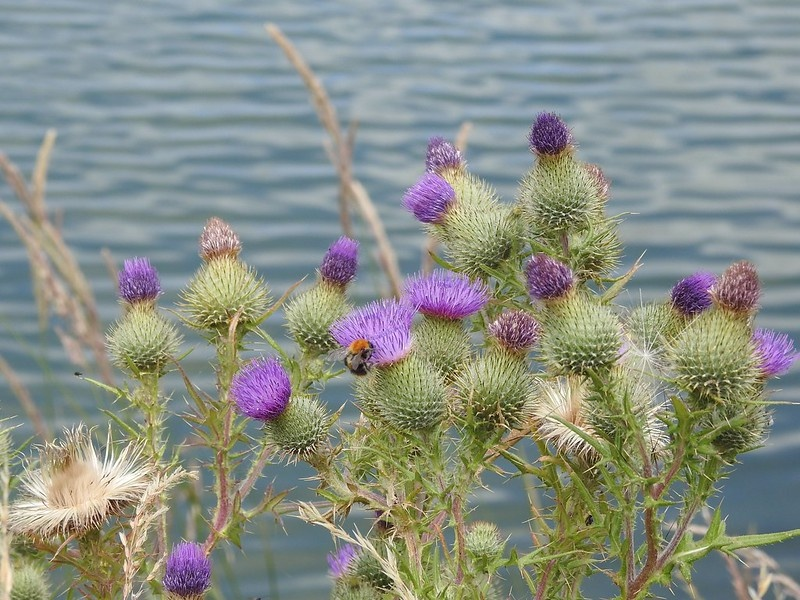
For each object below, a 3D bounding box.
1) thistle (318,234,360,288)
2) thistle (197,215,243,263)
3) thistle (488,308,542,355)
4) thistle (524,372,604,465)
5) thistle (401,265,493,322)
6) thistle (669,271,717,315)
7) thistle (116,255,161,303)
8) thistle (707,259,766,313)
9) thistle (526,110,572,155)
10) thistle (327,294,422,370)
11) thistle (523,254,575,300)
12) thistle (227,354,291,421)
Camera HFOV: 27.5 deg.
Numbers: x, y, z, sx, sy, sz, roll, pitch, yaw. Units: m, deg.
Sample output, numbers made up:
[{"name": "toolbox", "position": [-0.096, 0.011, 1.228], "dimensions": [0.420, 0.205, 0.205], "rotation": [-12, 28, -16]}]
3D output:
[{"name": "thistle", "position": [-0.566, -0.327, 13.979], "dimensions": [0.277, 0.437, 0.319], "rotation": [8, -12, -16]}, {"name": "thistle", "position": [-1.517, -0.499, 13.827], "dimensions": [0.352, 0.394, 0.357], "rotation": [-1, -1, -15]}, {"name": "thistle", "position": [0.935, 0.272, 13.431], "dimensions": [0.351, 0.352, 0.346], "rotation": [16, 16, -40]}, {"name": "thistle", "position": [1.324, 0.945, 13.323], "dimensions": [0.501, 0.611, 0.603], "rotation": [-4, 24, -4]}, {"name": "thistle", "position": [0.388, -0.011, 13.495], "dimensions": [0.484, 0.271, 0.492], "rotation": [2, 14, -11]}, {"name": "thistle", "position": [2.412, -0.034, 13.686], "dimensions": [0.285, 0.383, 0.381], "rotation": [16, -6, 7]}, {"name": "thistle", "position": [-2.192, -0.159, 13.932], "dimensions": [0.367, 0.405, 0.362], "rotation": [-6, 4, -9]}, {"name": "thistle", "position": [2.776, -0.021, 13.497], "dimensions": [0.411, 0.294, 0.518], "rotation": [-5, -18, 7]}, {"name": "thistle", "position": [1.235, -1.359, 13.663], "dimensions": [0.342, 0.362, 0.348], "rotation": [4, -10, -34]}, {"name": "thistle", "position": [-0.164, 0.305, 13.433], "dimensions": [0.567, 0.418, 0.562], "rotation": [-31, 3, -31]}, {"name": "thistle", "position": [1.212, -0.154, 13.268], "dimensions": [0.328, 0.260, 0.376], "rotation": [-8, -42, 14]}, {"name": "thistle", "position": [-1.094, 0.749, 13.443], "dimensions": [0.341, 0.478, 0.473], "rotation": [37, -1, 3]}]
